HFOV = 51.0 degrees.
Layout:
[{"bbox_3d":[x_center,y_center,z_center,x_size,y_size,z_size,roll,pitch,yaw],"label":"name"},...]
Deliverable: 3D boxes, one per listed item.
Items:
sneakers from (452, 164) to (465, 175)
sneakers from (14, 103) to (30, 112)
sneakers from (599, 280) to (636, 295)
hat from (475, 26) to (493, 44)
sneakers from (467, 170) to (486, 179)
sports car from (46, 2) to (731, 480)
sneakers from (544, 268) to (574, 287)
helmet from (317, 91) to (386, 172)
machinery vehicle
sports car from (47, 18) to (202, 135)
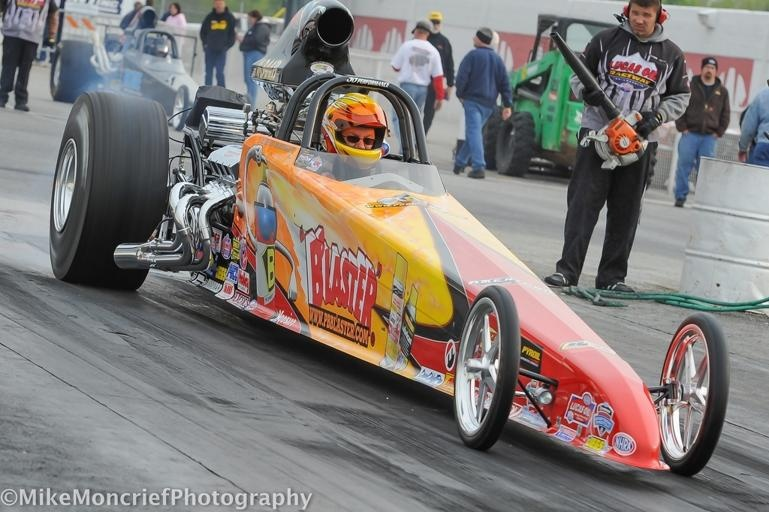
[{"bbox_3d":[1.540,-1.788,16.873,0.125,0.162,0.374,-1,-2,-11],"label":"sneakers"},{"bbox_3d":[-6.977,-2.827,15.349,0.253,0.121,0.373,1,15,-30],"label":"sneakers"},{"bbox_3d":[2.503,0.341,8.613,0.392,0.165,0.151,0,4,3],"label":"sneakers"},{"bbox_3d":[1.964,-4.281,15.836,0.324,0.246,0.295,7,47,-32],"label":"hat"},{"bbox_3d":[1.851,-1.654,16.385,0.138,0.149,0.330,-3,4,-41],"label":"sneakers"},{"bbox_3d":[-0.129,-0.016,5.780,2.963,2.222,4.692,6,15,-44],"label":"sports car"},{"bbox_3d":[1.882,0.243,8.563,0.369,0.154,0.133,15,-5,-23],"label":"sneakers"},{"bbox_3d":[-0.257,-1.015,6.197,0.483,0.507,0.611,-6,28,-36],"label":"helmet"},{"bbox_3d":[4.034,-3.883,20.044,3.029,3.664,5.465,4,12,-13],"label":"machinery vehicle"},{"bbox_3d":[-6.255,-4.460,19.303,3.692,1.656,2.312,19,19,-24],"label":"sports car"}]
